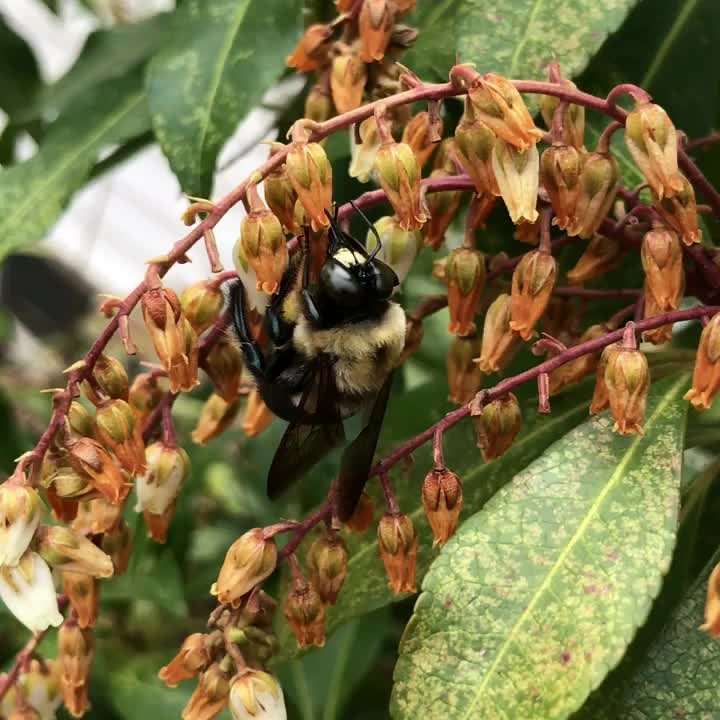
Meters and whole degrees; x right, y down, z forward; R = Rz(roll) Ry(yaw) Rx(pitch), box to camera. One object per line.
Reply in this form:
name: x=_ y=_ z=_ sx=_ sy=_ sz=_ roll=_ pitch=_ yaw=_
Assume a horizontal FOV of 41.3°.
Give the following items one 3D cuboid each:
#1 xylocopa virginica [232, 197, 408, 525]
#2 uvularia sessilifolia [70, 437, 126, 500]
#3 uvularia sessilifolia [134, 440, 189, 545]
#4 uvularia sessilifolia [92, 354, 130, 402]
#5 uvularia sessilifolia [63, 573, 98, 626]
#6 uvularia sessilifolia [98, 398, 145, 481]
xylocopa virginica: x=-0.050 y=-0.008 z=1.238 sx=0.243 sy=0.352 sz=0.111 roll=-19 pitch=35 yaw=-40
uvularia sessilifolia: x=-0.262 y=0.108 z=0.959 sx=0.049 sy=0.066 sz=0.047 roll=-13 pitch=30 yaw=-34
uvularia sessilifolia: x=-0.232 y=0.156 z=1.126 sx=0.055 sy=0.060 sz=0.114 roll=4 pitch=87 yaw=-3
uvularia sessilifolia: x=-0.264 y=0.024 z=1.014 sx=0.030 sy=0.026 sz=0.052 roll=-17 pitch=91 yaw=-19
uvularia sessilifolia: x=-0.298 y=0.257 z=1.035 sx=0.039 sy=0.065 sz=0.017 roll=-6 pitch=22 yaw=5
uvularia sessilifolia: x=-0.244 y=0.078 z=0.997 sx=0.053 sy=0.073 sz=0.063 roll=-4 pitch=25 yaw=-11
